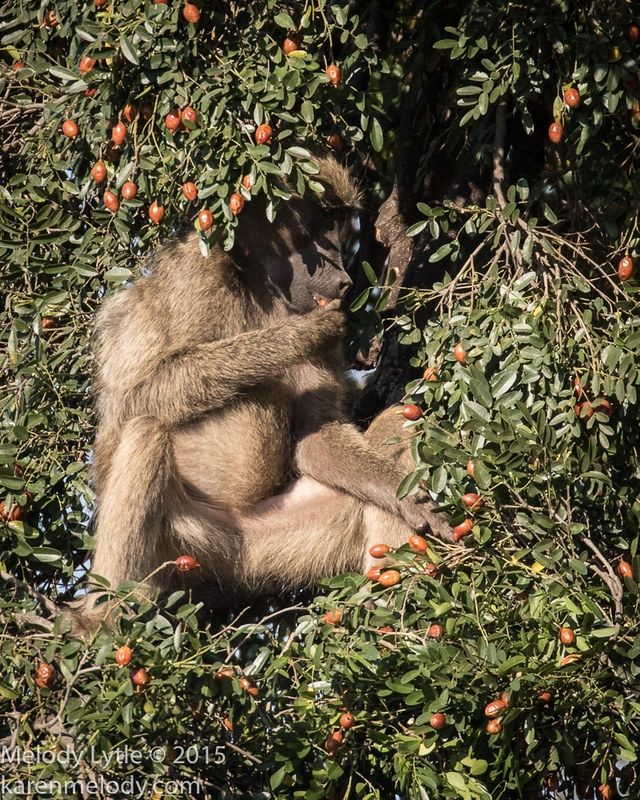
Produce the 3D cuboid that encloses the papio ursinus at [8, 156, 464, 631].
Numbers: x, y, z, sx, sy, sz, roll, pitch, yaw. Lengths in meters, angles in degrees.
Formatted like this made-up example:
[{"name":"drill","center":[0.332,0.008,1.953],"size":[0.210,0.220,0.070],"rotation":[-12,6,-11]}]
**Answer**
[{"name":"papio ursinus","center":[-0.066,-0.066,3.878],"size":[1.480,1.418,0.857],"rotation":[4,11,3]}]
